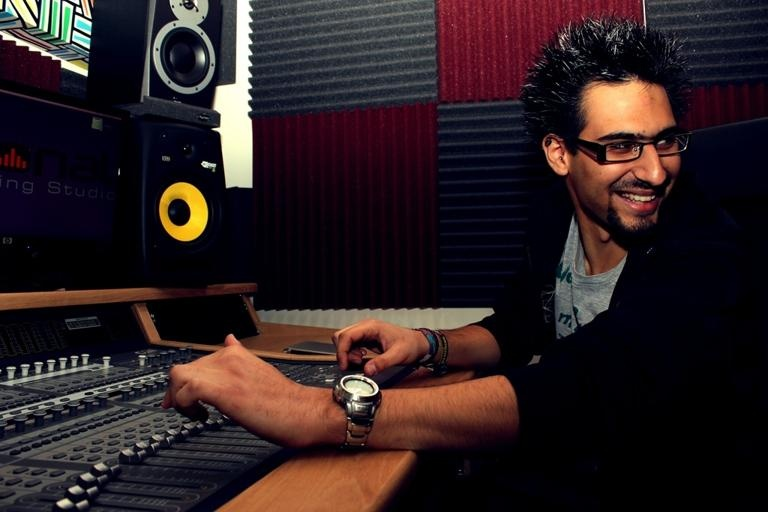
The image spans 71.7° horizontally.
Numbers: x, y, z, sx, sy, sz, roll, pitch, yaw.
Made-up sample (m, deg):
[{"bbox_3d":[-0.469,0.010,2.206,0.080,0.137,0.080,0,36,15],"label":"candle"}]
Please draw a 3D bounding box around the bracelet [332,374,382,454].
[{"bbox_3d":[-0.055,0.316,1.076,0.086,0.114,0.130,8,23,-10],"label":"bracelet"}]

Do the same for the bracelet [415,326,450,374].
[{"bbox_3d":[0.142,0.262,1.456,0.085,0.118,0.115,0,-2,-24],"label":"bracelet"}]
